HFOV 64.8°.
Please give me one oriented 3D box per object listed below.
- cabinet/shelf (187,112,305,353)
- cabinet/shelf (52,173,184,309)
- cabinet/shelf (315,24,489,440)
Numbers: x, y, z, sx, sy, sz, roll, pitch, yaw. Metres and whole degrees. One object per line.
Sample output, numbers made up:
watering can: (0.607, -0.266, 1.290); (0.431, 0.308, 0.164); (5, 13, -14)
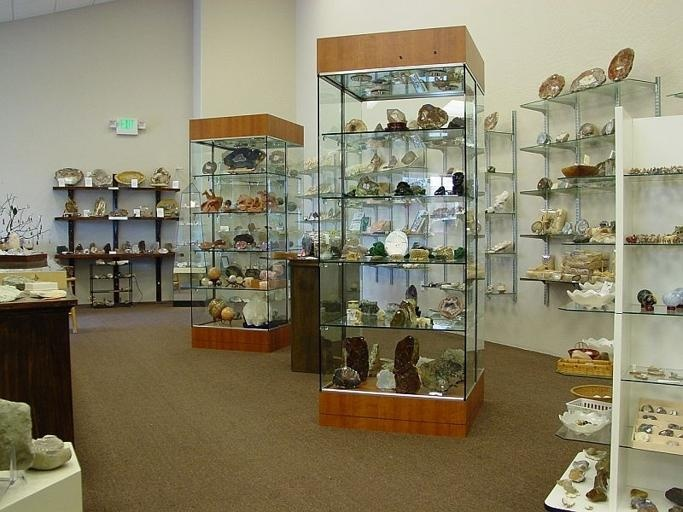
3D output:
cabinet/shelf: (-1.319, -0.282, 7.238); (1.509, 3.061, 0.566); (-1, 3, 9)
cabinet/shelf: (-4.432, -0.373, 10.485); (2.582, 3.085, 0.803); (-1, 1, -14)
cabinet/shelf: (0.518, -0.075, 4.965); (1.373, 3.120, 1.148); (4, 5, 7)
